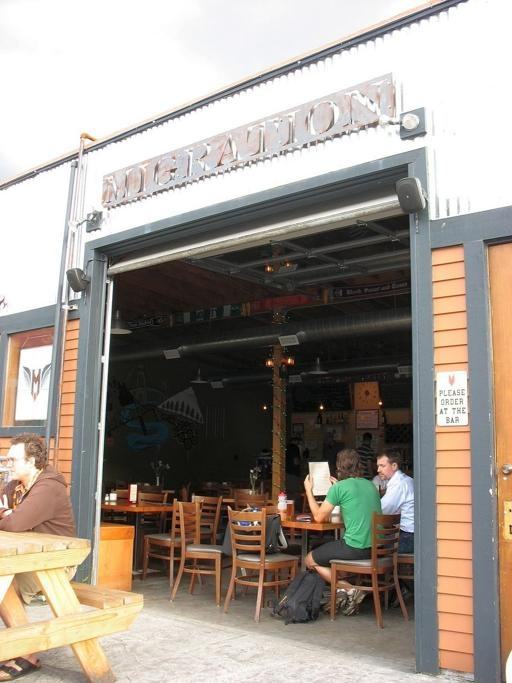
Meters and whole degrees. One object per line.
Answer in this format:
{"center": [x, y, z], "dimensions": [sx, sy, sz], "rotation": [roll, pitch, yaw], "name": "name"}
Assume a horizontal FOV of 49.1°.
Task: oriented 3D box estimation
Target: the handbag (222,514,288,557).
{"center": [0.035, 1.692, 4.879], "dimensions": [0.465, 0.169, 0.442], "rotation": [0, -6, -33], "name": "handbag"}

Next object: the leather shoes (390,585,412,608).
{"center": [1.397, 2.480, 5.470], "dimensions": [0.158, 0.100, 0.269], "rotation": [-6, -7, -20], "name": "leather shoes"}

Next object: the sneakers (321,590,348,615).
{"center": [0.679, 2.267, 4.872], "dimensions": [0.107, 0.146, 0.316], "rotation": [7, -19, -22], "name": "sneakers"}

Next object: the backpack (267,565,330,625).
{"center": [0.364, 2.079, 4.546], "dimensions": [0.444, 0.358, 0.330], "rotation": [2, -11, -10], "name": "backpack"}

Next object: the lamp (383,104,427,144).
{"center": [0.995, -1.423, 3.689], "dimensions": [0.108, 0.166, 0.295], "rotation": [-9, 8, -38], "name": "lamp"}

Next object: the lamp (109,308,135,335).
{"center": [-2.231, -0.313, 9.287], "dimensions": [0.403, 0.443, 0.444], "rotation": [-4, -16, 1], "name": "lamp"}

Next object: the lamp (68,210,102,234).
{"center": [-1.790, -1.256, 5.878], "dimensions": [0.447, 0.255, 0.114], "rotation": [-8, -13, 38], "name": "lamp"}

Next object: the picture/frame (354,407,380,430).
{"center": [3.039, 2.073, 15.127], "dimensions": [0.066, 0.481, 0.641], "rotation": [8, -7, -43], "name": "picture/frame"}

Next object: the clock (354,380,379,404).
{"center": [2.973, 1.426, 15.211], "dimensions": [0.744, 0.696, 0.196], "rotation": [0, -5, 41], "name": "clock"}
